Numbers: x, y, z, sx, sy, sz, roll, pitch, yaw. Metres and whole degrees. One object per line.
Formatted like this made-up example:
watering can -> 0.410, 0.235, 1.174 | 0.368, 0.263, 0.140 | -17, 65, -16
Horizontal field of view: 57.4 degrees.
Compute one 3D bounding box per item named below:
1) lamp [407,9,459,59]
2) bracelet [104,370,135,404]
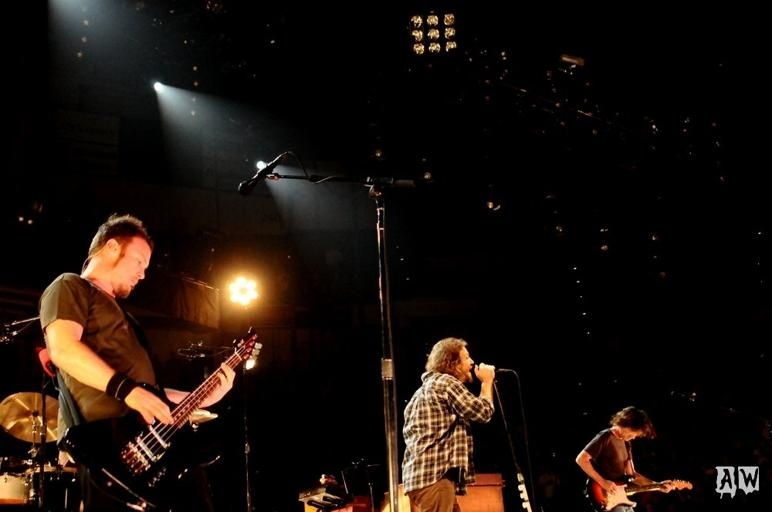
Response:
lamp -> 0.679, -3.112, 9.962 | 0.703, 0.699, 0.167 | -2, -1, 6
bracelet -> -2.392, 1.180, 6.333 | 0.202, 0.230, 0.205 | -19, -38, 31
